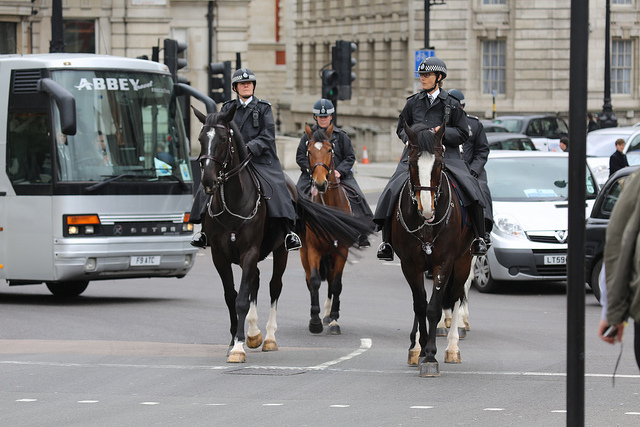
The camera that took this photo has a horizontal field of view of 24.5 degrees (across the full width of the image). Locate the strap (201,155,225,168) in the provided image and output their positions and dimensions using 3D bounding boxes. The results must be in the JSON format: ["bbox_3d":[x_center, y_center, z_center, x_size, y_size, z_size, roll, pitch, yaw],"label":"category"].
[{"bbox_3d":[-1.613,-0.766,21.818,0.190,0.183,0.047,-4,3,17],"label":"strap"}]

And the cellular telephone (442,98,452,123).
[{"bbox_3d":[1.924,-1.559,22.531,0.115,0.320,0.093,9,-4,33],"label":"cellular telephone"}]

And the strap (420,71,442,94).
[{"bbox_3d":[1.696,-2.001,22.600,0.077,0.261,0.263,33,-9,-12],"label":"strap"}]

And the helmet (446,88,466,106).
[{"bbox_3d":[2.230,-1.925,24.145,0.375,0.358,0.410,4,7,6],"label":"helmet"}]

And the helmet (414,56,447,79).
[{"bbox_3d":[1.722,-2.227,22.560,0.443,0.216,0.311,3,-3,-24],"label":"helmet"}]

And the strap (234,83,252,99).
[{"bbox_3d":[-1.227,-1.928,23.150,0.259,0.230,0.207,0,6,4],"label":"strap"}]

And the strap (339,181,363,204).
[{"bbox_3d":[0.571,-0.306,25.691,0.181,0.574,0.310,-39,40,-19],"label":"strap"}]

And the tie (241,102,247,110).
[{"bbox_3d":[-1.207,-1.692,23.179,0.093,0.110,0.032,0,2,6],"label":"tie"}]

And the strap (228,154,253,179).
[{"bbox_3d":[-1.261,-0.691,22.567,0.108,0.111,0.804,45,30,8],"label":"strap"}]

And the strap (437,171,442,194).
[{"bbox_3d":[1.725,-0.434,21.448,0.038,0.327,0.083,-3,-9,23],"label":"strap"}]

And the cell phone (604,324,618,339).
[{"bbox_3d":[3.423,1.424,17.477,0.043,0.146,0.159,37,18,17],"label":"cell phone"}]

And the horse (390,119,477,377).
[{"bbox_3d":[1.657,0.458,21.910,1.185,3.668,1.955,0,6,7],"label":"horse"}]
